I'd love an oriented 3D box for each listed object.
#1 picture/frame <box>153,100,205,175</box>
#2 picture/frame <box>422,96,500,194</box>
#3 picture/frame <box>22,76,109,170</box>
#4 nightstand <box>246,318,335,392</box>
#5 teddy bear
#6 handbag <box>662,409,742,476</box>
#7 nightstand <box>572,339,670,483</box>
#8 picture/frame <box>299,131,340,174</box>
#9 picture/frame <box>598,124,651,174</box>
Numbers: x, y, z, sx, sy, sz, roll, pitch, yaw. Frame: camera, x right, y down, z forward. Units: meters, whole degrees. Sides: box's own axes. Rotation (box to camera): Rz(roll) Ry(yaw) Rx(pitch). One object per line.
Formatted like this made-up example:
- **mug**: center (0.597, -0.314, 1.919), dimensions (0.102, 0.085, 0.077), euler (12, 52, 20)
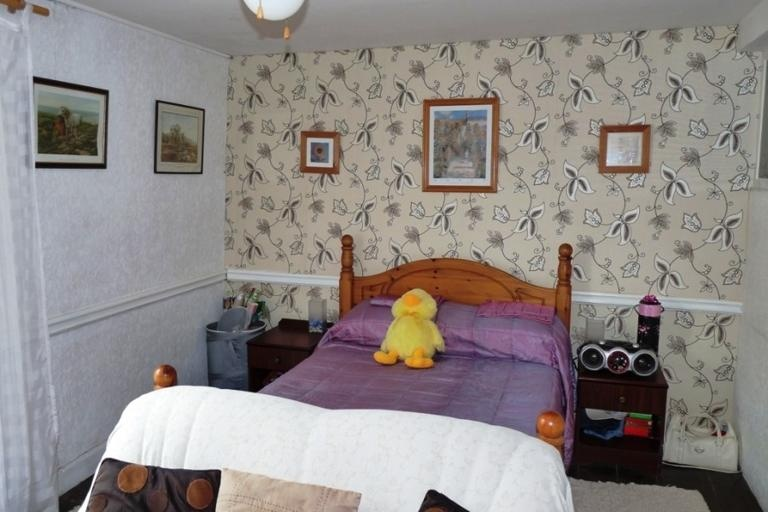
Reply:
- **picture/frame**: center (-1.710, -0.999, 4.750), dimensions (0.033, 0.672, 0.643), euler (7, 7, 21)
- **picture/frame**: center (0.667, -0.957, 4.799), dimensions (0.776, 0.963, 0.048), euler (1, 4, 15)
- **picture/frame**: center (-2.165, -0.909, 3.873), dimensions (0.032, 0.720, 0.695), euler (7, 7, 29)
- **nightstand**: center (-0.836, 0.975, 5.022), dimensions (0.567, 0.648, 0.480), euler (4, 7, 11)
- **teddy bear**: center (0.207, 0.541, 4.372), dimensions (0.498, 0.610, 0.501), euler (2, -3, 8)
- **handbag**: center (2.430, 1.408, 4.413), dimensions (0.510, 0.382, 0.280), euler (1, 9, 28)
- **nightstand**: center (1.864, 1.277, 4.571), dimensions (0.650, 0.776, 0.863), euler (3, 2, 15)
- **picture/frame**: center (-0.556, -0.931, 5.094), dimensions (0.358, 0.381, 0.027), euler (2, 4, 13)
- **picture/frame**: center (1.903, -0.856, 4.520), dimensions (0.368, 0.408, 0.042), euler (1, 6, 11)
